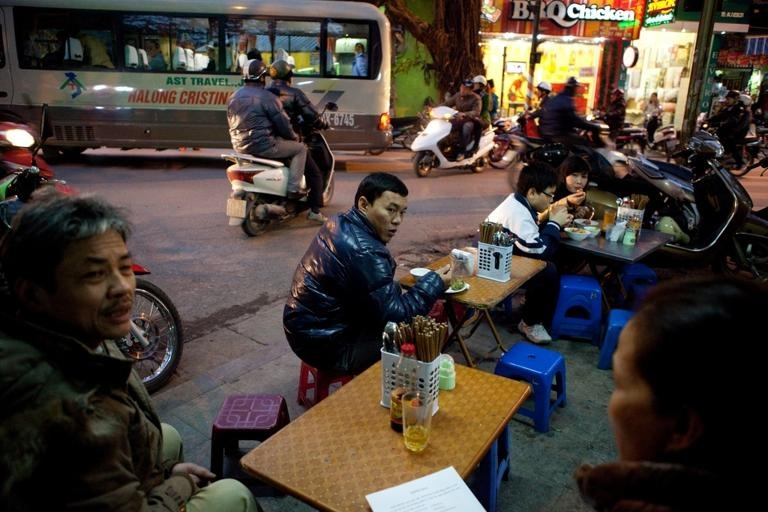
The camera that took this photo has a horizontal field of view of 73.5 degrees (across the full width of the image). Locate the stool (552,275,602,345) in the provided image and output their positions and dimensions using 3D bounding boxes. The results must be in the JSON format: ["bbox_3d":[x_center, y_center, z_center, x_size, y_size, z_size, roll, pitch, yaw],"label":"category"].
[{"bbox_3d":[1.817,0.474,5.001,0.582,0.644,0.575,4,14,23],"label":"stool"}]

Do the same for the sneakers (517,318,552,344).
[{"bbox_3d":[1.380,0.688,4.735,0.276,0.105,0.147,24,26,36],"label":"sneakers"}]

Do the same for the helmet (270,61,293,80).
[{"bbox_3d":[-1.503,-2.792,7.623,0.253,0.185,0.331,15,63,14],"label":"helmet"}]

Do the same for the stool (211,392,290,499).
[{"bbox_3d":[-0.743,1.103,3.203,0.603,0.541,0.586,0,13,-2],"label":"stool"}]

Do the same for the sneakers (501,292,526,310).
[{"bbox_3d":[1.364,0.471,5.464,0.277,0.130,0.377,-1,9,40],"label":"sneakers"}]

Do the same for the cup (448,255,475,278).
[{"bbox_3d":[0.601,0.071,3.889,0.212,0.163,0.142,0,10,11],"label":"cup"}]

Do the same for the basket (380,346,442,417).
[{"bbox_3d":[0.126,0.574,2.389,0.317,0.286,0.172,9,14,37],"label":"basket"}]

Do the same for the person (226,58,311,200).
[{"bbox_3d":[-1.671,-1.787,7.375,1.090,1.937,0.613,-2,21,-8],"label":"person"}]

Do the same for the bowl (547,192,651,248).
[{"bbox_3d":[2.077,-0.349,5.011,0.763,0.398,0.383,13,30,10],"label":"bowl"}]

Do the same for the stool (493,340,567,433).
[{"bbox_3d":[1.101,0.923,3.843,0.587,0.520,0.591,11,20,35],"label":"stool"}]

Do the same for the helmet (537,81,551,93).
[{"bbox_3d":[3.511,-3.752,11.361,0.261,0.158,0.350,-7,19,-14],"label":"helmet"}]

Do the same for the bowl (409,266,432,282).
[{"bbox_3d":[0.267,0.122,3.668,0.101,0.037,0.101,-2,11,0],"label":"bowl"}]

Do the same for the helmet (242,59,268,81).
[{"bbox_3d":[-1.828,-2.643,7.284,0.311,0.274,0.307,-4,21,-12],"label":"helmet"}]

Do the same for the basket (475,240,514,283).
[{"bbox_3d":[0.825,0.038,3.827,0.273,0.259,0.159,11,18,38],"label":"basket"}]
